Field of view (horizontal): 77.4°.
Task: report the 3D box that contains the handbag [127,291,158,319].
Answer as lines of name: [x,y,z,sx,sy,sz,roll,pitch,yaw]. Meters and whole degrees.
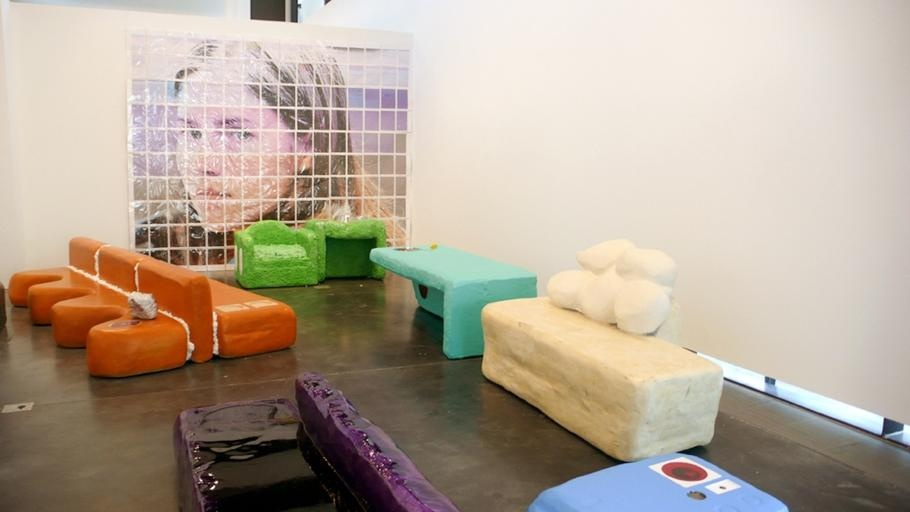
handbag: [-3.213,0.512,5.862,0.241,0.260,0.211,-8,17,-27]
